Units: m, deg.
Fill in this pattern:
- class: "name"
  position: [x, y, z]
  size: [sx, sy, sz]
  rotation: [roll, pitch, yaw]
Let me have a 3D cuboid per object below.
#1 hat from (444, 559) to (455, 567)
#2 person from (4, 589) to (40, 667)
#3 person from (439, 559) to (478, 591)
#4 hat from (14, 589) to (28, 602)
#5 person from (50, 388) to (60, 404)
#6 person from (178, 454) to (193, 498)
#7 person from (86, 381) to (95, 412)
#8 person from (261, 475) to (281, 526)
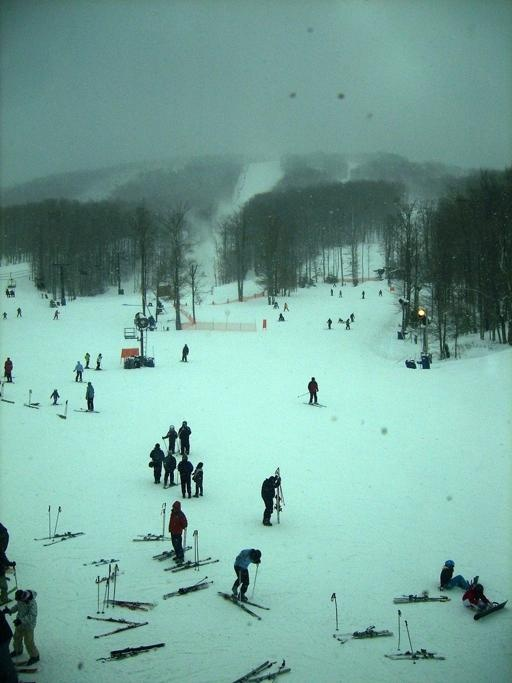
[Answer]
- class: "hat"
  position: [4.324, 4.833, 24.042]
  size: [0.175, 0.103, 0.152]
  rotation: [18, -16, 14]
- class: "person"
  position: [-4.537, 5.501, 21.329]
  size: [0.500, 1.591, 0.497]
  rotation: [10, 16, 20]
- class: "person"
  position: [4.442, 5.147, 23.957]
  size: [0.689, 0.799, 0.527]
  rotation: [-11, 12, -3]
- class: "hat"
  position: [-4.546, 4.902, 21.334]
  size: [0.173, 0.262, 0.243]
  rotation: [3, 6, 10]
- class: "person"
  position: [-7.058, 1.837, 38.525]
  size: [0.340, 0.856, 0.246]
  rotation: [0, -6, -22]
- class: "person"
  position: [-1.806, 3.411, 28.645]
  size: [0.386, 1.298, 1.165]
  rotation: [0, 9, -4]
- class: "person"
  position: [-5.763, 1.720, 38.108]
  size: [0.284, 1.011, 2.065]
  rotation: [-1, 10, -9]
- class: "person"
  position: [0.405, 3.817, 27.062]
  size: [0.411, 1.184, 0.952]
  rotation: [0, 9, 2]
